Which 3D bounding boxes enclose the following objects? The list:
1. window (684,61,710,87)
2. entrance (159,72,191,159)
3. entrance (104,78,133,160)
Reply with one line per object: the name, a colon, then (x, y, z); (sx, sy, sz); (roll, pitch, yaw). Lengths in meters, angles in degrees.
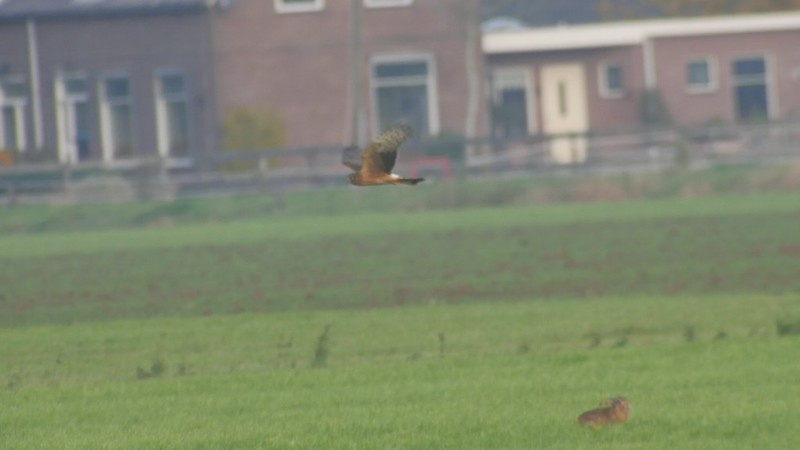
window: (2.932, -1.519, 21.211); (0.221, 0.263, 0.078); (-5, 5, 4)
entrance: (-2.214, -1.063, 21.205); (0.375, 0.973, 0.094); (-1, 9, 11)
entrance: (-2.786, -1.048, 21.204); (0.360, 0.953, 0.110); (-6, 9, -23)
